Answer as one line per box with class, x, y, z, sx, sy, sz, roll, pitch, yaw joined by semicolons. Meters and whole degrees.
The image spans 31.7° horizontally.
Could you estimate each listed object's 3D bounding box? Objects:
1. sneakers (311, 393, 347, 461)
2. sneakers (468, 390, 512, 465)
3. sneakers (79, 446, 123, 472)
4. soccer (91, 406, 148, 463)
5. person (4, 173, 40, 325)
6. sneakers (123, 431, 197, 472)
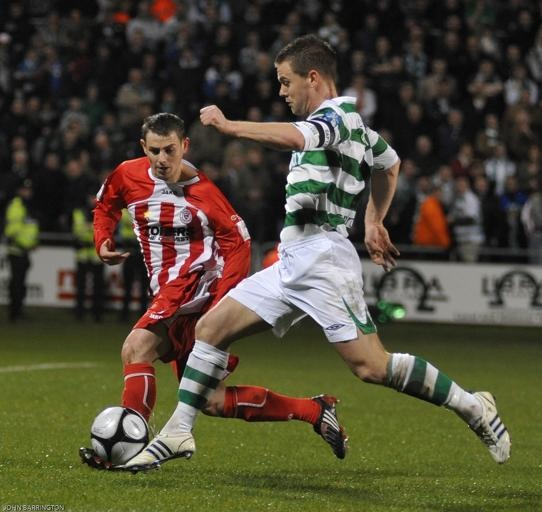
sneakers;0.350;1.075;6.028;0.217;0.449;0.152;-18;-39;-10
sneakers;1.256;0.990;5.494;0.229;0.426;0.194;3;2;14
sneakers;-1.004;1.164;5.581;0.182;0.062;0.128;27;-10;4
soccer;-0.866;1.011;5.621;0.379;0.241;0.357;6;11;8
person;-3.750;-0.059;14.301;0.485;1.970;0.924;2;2;-14
sneakers;-0.626;1.078;5.426;0.499;0.201;0.163;-14;-6;-14
